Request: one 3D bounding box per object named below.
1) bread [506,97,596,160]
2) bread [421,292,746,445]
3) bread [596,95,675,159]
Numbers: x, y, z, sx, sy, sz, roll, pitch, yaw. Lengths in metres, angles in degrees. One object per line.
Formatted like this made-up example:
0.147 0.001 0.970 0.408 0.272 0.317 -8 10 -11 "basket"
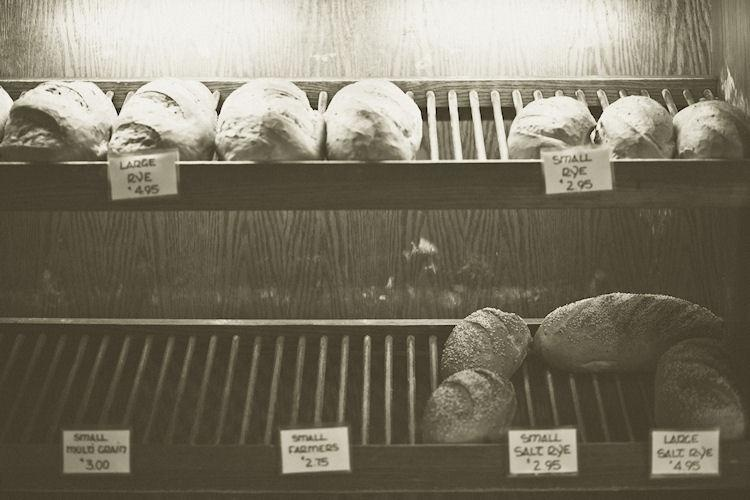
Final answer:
0.409 -0.289 2.231 0.205 0.169 0.105 -3 -14 12 "bread"
0.471 0.277 2.261 0.720 0.359 0.258 0 -14 2 "bread"
0.601 -0.279 2.201 0.126 0.100 0.167 -1 37 4 "bread"
